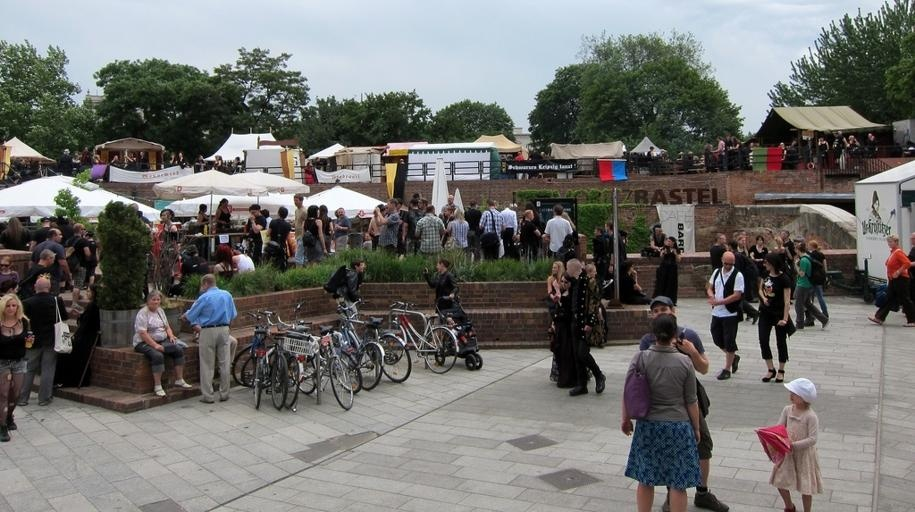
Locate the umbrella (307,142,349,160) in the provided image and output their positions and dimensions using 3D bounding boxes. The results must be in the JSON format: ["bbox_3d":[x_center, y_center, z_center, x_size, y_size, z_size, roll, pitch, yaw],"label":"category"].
[{"bbox_3d":[-9.240,-7.386,59.015,2.282,1.019,2.997,-2,2,5],"label":"umbrella"}]

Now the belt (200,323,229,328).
[{"bbox_3d":[-6.359,1.777,21.250,0.652,0.118,0.100,-2,3,-17],"label":"belt"}]

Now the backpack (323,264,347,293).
[{"bbox_3d":[-3.578,0.682,23.679,0.436,0.798,0.694,31,-9,-2],"label":"backpack"}]

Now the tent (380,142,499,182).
[{"bbox_3d":[-0.228,-5.258,46.127,5.069,2.046,1.744,-1,3,6],"label":"tent"}]

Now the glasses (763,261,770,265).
[{"bbox_3d":[8.957,0.188,23.670,0.159,0.147,0.056,7,-5,17],"label":"glasses"}]

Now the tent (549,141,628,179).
[{"bbox_3d":[8.344,-6.603,53.358,3.948,1.449,3.720,-4,21,2],"label":"tent"}]

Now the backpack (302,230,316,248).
[{"bbox_3d":[-4.871,-0.543,26.748,0.621,0.686,0.374,-1,0,-1],"label":"backpack"}]

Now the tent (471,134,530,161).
[{"bbox_3d":[3.538,-7.843,59.766,4.549,2.048,4.400,3,0,11],"label":"tent"}]
